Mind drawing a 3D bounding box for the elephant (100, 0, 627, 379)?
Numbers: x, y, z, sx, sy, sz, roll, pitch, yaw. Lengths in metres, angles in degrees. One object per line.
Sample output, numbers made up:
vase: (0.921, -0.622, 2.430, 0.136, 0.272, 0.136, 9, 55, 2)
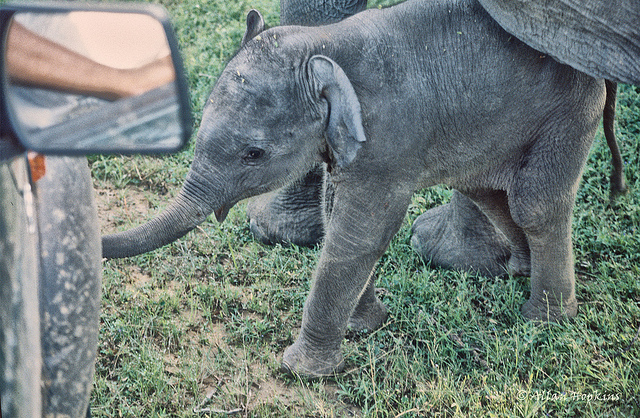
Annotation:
elephant: (0.532, -0.644, 4.420, 3.568, 2.311, 1.323, -9, 23, -15)
